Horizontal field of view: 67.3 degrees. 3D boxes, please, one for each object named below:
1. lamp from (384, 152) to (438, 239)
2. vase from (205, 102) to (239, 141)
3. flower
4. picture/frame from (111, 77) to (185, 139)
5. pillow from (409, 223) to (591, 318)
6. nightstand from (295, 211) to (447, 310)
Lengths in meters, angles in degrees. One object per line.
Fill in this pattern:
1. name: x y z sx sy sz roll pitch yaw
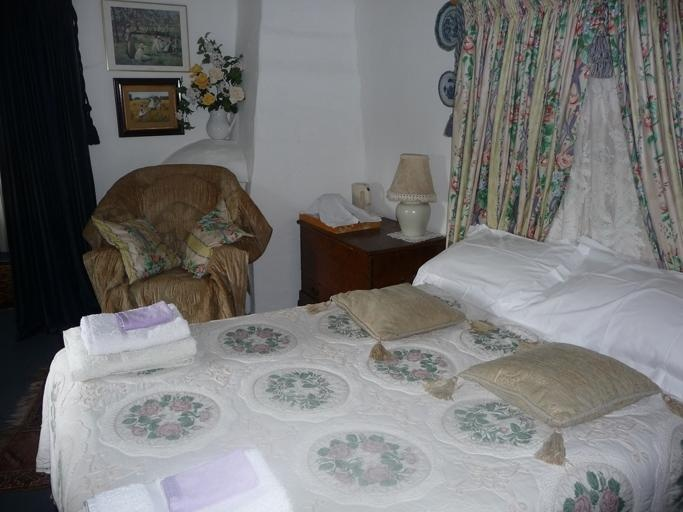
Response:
1. lamp: 0.491 -0.415 3.627 0.330 0.583 0.283 -1 18 8
2. vase: -1.085 -1.175 4.587 0.309 0.306 0.236 2 21 -16
3. flower: -1.145 -1.486 4.417 0.618 0.800 0.451 -7 18 -11
4. picture/frame: -1.698 -1.281 4.422 0.512 0.457 0.036 -5 11 -29
5. pillow: 0.859 0.067 2.827 0.526 0.143 0.554 -32 35 -19
6. nightstand: 0.176 -0.293 3.817 0.653 0.917 1.186 -11 18 -28
